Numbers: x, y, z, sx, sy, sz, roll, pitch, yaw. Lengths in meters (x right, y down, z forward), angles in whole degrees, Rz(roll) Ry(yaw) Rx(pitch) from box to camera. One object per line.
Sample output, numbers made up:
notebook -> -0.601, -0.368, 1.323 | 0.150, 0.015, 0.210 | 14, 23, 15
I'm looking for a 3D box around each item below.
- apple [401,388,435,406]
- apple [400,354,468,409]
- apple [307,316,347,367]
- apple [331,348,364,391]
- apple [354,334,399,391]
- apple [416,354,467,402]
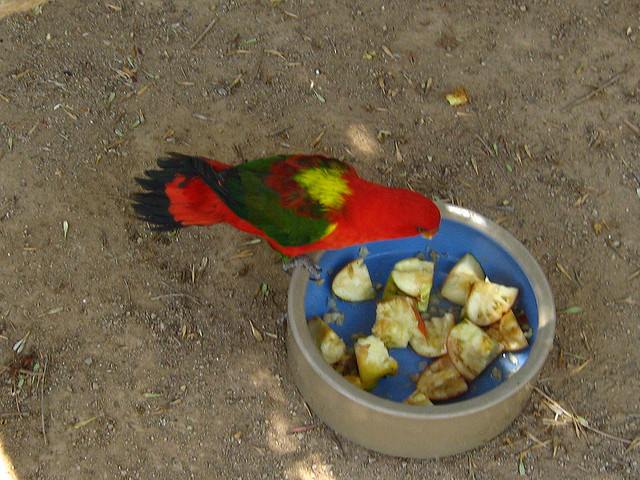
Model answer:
apple -> 0.567, 0.889, 4.075 | 0.164, 0.273, 0.082 | -1, 85, 3
apple -> 0.641, 0.811, 4.054 | 0.336, 0.105, 0.246 | -21, 74, 4
apple -> 0.035, 0.568, 4.152 | 0.144, 0.363, 0.308 | -39, 85, -1
apple -> 0.174, 0.765, 4.201 | 0.180, 0.073, 0.200 | -35, 74, -29
apple -> 0.319, 0.701, 4.189 | 0.258, 0.217, 0.298 | -25, 85, 0
apple -> 0.731, 0.842, 4.129 | 0.331, 0.287, 0.127 | -12, 103, 16
